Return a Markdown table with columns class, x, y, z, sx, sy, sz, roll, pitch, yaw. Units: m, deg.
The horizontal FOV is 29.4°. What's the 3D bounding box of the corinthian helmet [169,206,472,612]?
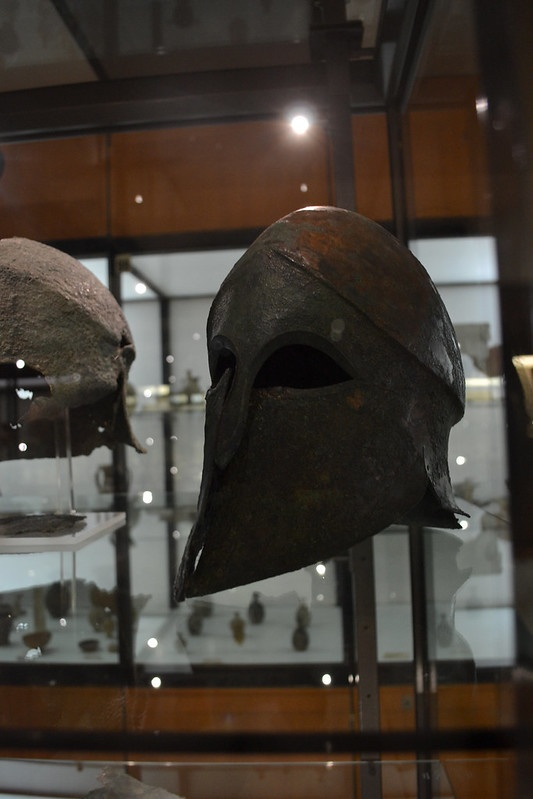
| class | x | y | z | sx | sy | sz | roll | pitch | yaw |
| --- | --- | --- | --- | --- | --- | --- | --- | --- | --- |
| corinthian helmet | 0.114 | -0.002 | 1.647 | 0.518 | 0.447 | 0.565 | 12 | 82 | -38 |
